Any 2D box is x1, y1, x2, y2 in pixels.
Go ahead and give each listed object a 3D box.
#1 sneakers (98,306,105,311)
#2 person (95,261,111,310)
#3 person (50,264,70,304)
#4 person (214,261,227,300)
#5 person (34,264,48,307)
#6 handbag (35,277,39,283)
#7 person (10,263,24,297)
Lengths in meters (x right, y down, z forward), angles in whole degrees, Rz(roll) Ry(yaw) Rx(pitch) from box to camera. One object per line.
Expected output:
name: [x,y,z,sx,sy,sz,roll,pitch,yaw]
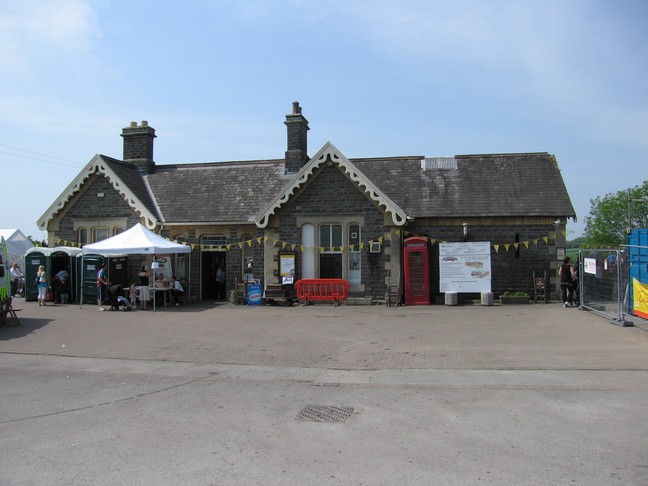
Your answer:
sneakers: [-8.016,2.370,23.997,0.126,0.172,0.351,1,-8,-26]
person: [-8.218,1.580,24.706,0.420,1.596,1.908,-2,6,-19]
person: [-10.512,1.663,26.574,0.556,1.374,0.751,0,5,2]
person: [-4.483,1.655,28.765,0.386,1.550,1.186,-2,5,-14]
person: [-10.925,1.668,25.781,0.414,1.484,1.315,-3,6,-23]
handbag: [-11.114,1.436,25.821,0.138,0.216,0.381,-4,6,-31]
person: [-14.031,1.684,30.390,0.498,1.478,3.042,-3,6,-24]
